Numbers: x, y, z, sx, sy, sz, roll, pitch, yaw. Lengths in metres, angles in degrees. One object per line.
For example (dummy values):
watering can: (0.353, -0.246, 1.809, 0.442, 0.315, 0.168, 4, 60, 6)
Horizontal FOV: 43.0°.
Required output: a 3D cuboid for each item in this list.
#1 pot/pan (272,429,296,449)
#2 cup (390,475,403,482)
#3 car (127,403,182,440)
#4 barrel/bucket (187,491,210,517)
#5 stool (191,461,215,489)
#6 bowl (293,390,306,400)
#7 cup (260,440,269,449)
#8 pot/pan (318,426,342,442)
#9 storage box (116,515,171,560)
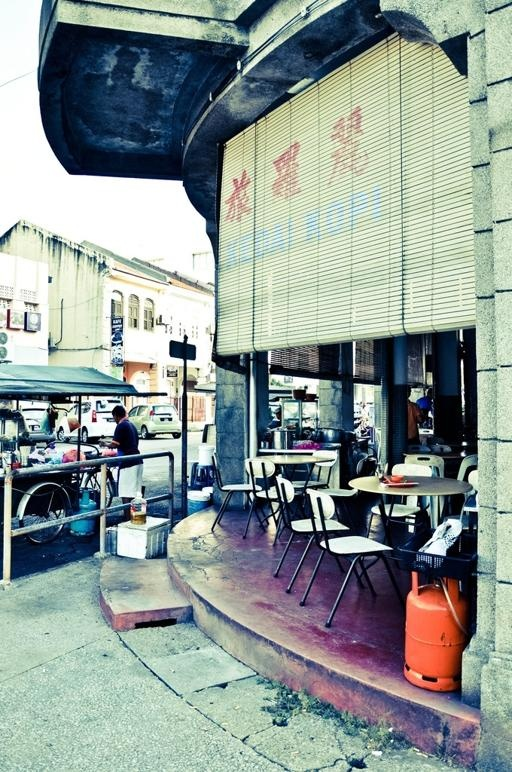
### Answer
pot/pan: (0.383, 0.730, 8.978, 0.234, 0.262, 0.263, 0, -8, 6)
cup: (1.133, 0.733, 5.143, 0.071, 0.045, 0.071, 9, -7, 1)
car: (-3.984, 1.192, 25.230, 1.433, 1.298, 2.470, 0, 5, -28)
barrel/bucket: (-0.784, 1.617, 9.012, 0.263, 0.283, 0.274, 2, -3, 0)
stool: (-0.958, 1.549, 11.423, 0.510, 0.524, 0.433, 4, -7, -16)
bowl: (0.767, 0.129, 11.170, 0.191, 0.159, 0.199, 0, -10, 0)
cup: (0.125, 0.784, 8.752, 0.090, 0.109, 0.099, 3, -6, 3)
pot/pan: (1.161, 0.755, 9.930, 0.338, 0.178, 0.256, -4, 2, 6)
storage box: (-1.187, 1.584, 6.711, 0.524, 0.391, 0.601, -4, 2, 1)
